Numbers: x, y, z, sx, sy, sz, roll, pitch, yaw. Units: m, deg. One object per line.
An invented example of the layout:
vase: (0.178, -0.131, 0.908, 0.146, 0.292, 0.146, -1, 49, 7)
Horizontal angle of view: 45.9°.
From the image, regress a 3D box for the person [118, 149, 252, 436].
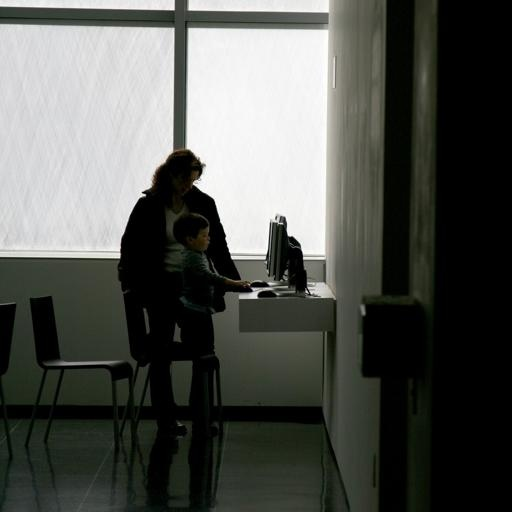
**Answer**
person: (-0.467, 0.222, 3.461, 0.641, 1.668, 0.333, 0, 0, -18)

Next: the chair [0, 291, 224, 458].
chair: (-0.720, 0.682, 3.547, 1.239, 1.420, 0.720, -2, 0, 0)

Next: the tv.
tv: (0.172, -0.022, 3.475, 0.222, 0.446, 0.669, 0, 1, 1)
